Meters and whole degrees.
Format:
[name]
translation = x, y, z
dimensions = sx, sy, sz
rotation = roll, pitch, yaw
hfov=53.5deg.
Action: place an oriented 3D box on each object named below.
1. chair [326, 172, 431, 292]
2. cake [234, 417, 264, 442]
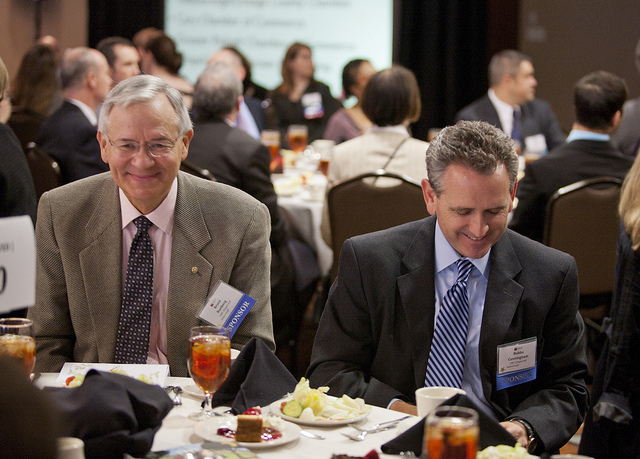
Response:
[chair]
translation = 0.303, -0.086, 3.486
dimensions = 0.417, 0.751, 0.444
rotation = 1, 9, -5
[cake]
translation = -0.169, 0.480, 1.525
dimensions = 0.052, 0.046, 0.057
rotation = 1, -7, 8
